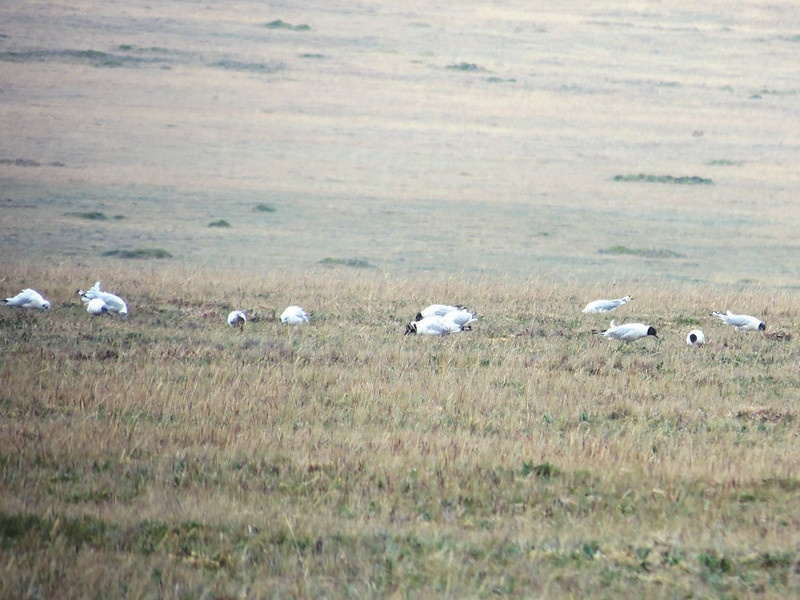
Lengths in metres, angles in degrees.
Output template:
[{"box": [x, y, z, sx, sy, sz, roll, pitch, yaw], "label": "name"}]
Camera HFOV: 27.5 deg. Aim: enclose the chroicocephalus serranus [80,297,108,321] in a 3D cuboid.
[{"box": [-22.577, 0.492, 120.942, 0.843, 1.371, 2.340, -29, 12, -25], "label": "chroicocephalus serranus"}]
